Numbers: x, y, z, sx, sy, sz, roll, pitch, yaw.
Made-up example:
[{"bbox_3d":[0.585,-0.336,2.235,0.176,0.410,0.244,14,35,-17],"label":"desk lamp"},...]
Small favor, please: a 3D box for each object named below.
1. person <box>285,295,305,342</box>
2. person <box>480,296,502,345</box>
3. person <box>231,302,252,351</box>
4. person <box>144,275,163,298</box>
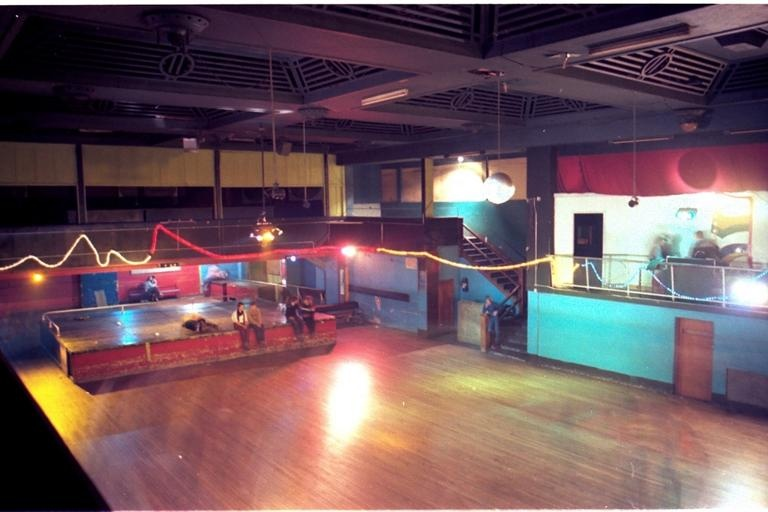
[{"bbox_3d":[-2.775,1.930,15.967,0.513,1.187,0.631,-3,11,-13],"label":"person"},{"bbox_3d":[3.374,2.122,16.315,0.697,1.593,0.550,-3,11,-13],"label":"person"},{"bbox_3d":[-4.241,1.986,15.312,0.395,1.378,1.138,-4,11,-16],"label":"person"},{"bbox_3d":[-9.970,1.355,22.100,0.629,0.959,0.884,-6,11,-24],"label":"person"}]
